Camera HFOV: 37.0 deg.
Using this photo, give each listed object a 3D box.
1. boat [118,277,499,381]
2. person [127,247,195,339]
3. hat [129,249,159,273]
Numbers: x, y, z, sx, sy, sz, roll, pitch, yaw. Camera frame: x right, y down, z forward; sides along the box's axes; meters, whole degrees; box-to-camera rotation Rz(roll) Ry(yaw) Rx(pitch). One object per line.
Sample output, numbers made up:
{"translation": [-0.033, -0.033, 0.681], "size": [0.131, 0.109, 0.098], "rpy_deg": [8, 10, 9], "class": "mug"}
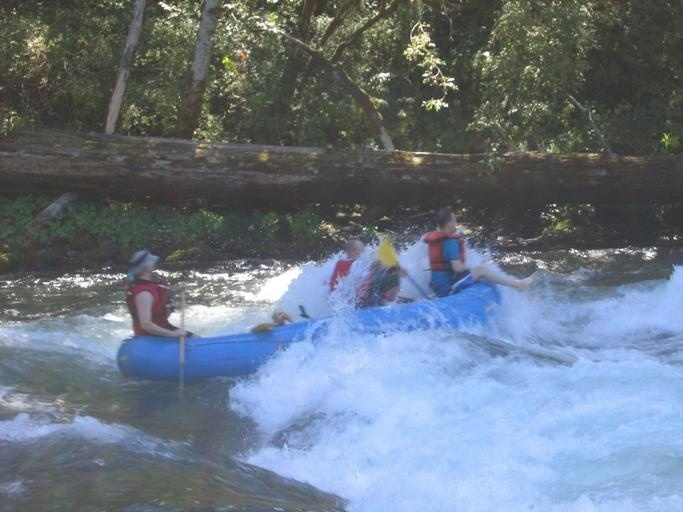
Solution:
{"translation": [-0.605, 1.171, 14.856], "size": [4.057, 0.634, 1.981], "rpy_deg": [-9, -9, -9], "class": "boat"}
{"translation": [-2.693, 0.539, 14.704], "size": [0.750, 1.212, 0.370], "rpy_deg": [4, 3, -13], "class": "person"}
{"translation": [-2.841, 0.082, 14.734], "size": [0.425, 0.180, 0.284], "rpy_deg": [-24, 37, -4], "class": "hat"}
